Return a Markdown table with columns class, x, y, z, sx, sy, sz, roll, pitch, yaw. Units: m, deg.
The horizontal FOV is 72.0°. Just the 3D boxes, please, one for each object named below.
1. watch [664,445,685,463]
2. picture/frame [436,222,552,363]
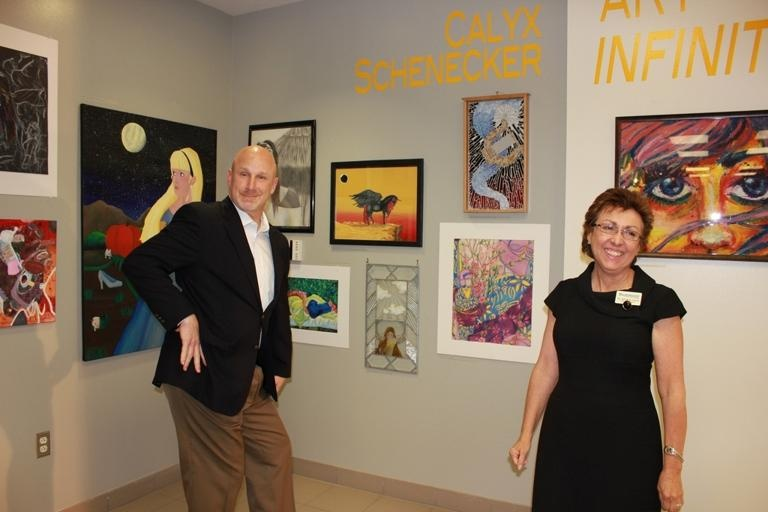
| class | x | y | z | sx | sy | sz | roll | pitch | yaw |
| --- | --- | --- | --- | --- | --- | --- | --- | --- | --- |
| watch | 1.416 | 0.961 | 2.566 | 0.086 | 0.087 | 0.071 | 3 | 7 | 20 |
| picture/frame | 0.824 | 0.268 | 3.767 | 0.955 | 1.244 | 0.066 | 1 | -2 | 22 |
